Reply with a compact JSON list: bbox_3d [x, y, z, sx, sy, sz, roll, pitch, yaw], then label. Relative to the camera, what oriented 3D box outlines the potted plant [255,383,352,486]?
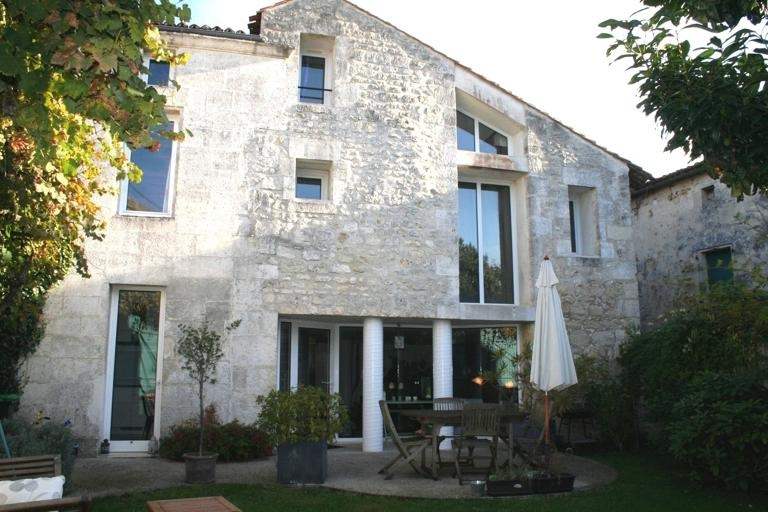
[{"bbox_3d":[-1.337,2.953,11.649,1.409,1.562,0.578,0,-15,-5],"label":"potted plant"}]

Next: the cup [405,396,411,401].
[{"bbox_3d":[0.563,3.279,16.278,0.135,0.125,0.070,3,-18,-10],"label":"cup"}]

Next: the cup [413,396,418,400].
[{"bbox_3d":[0.742,3.272,16.277,0.152,0.081,0.081,-1,1,-28],"label":"cup"}]

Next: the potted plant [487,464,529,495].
[{"bbox_3d":[2.035,3.617,11.409,0.670,0.451,0.964,-6,-16,18],"label":"potted plant"}]

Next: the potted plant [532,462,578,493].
[{"bbox_3d":[2.639,3.570,11.152,0.778,0.327,0.205,4,-16,-18],"label":"potted plant"}]

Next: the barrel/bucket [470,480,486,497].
[{"bbox_3d":[1.475,3.665,11.128,0.204,0.144,0.217,-1,-13,0],"label":"barrel/bucket"}]

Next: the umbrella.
[{"bbox_3d":[2.815,1.512,11.876,0.710,3.178,0.989,-2,-15,5],"label":"umbrella"}]
